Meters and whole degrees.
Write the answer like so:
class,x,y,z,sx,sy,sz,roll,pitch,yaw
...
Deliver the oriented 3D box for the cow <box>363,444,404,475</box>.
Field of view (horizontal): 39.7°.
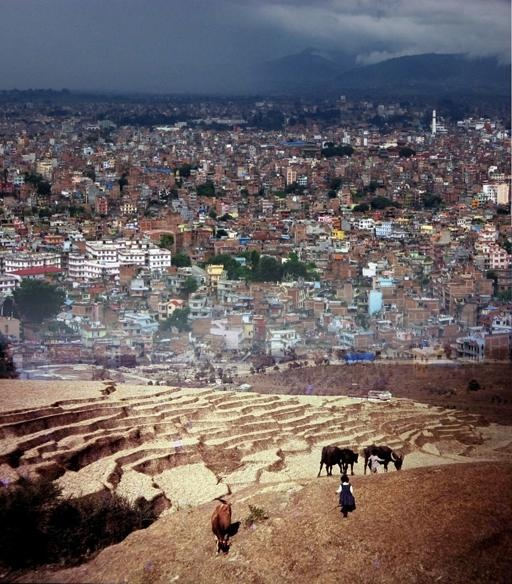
class,x,y,z,sx,sy,sz,roll,pitch,yaw
cow,0.970,1.179,5.371,0.272,0.241,0.557,0,4,12
